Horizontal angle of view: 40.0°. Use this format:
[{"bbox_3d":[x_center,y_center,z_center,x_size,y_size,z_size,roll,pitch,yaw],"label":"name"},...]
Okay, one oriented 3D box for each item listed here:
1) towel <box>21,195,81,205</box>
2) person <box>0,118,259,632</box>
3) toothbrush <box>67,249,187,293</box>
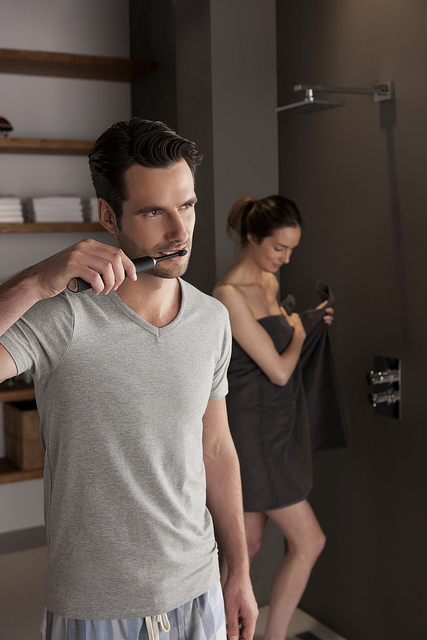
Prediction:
[{"bbox_3d":[-0.823,-0.607,2.947,0.275,0.070,0.236,-3,7,-19],"label":"towel"},{"bbox_3d":[-0.112,0.163,0.949,0.268,0.986,0.447,1,8,16],"label":"person"},{"bbox_3d":[-0.143,-0.089,0.815,0.192,0.056,0.115,-11,21,-42],"label":"toothbrush"}]
